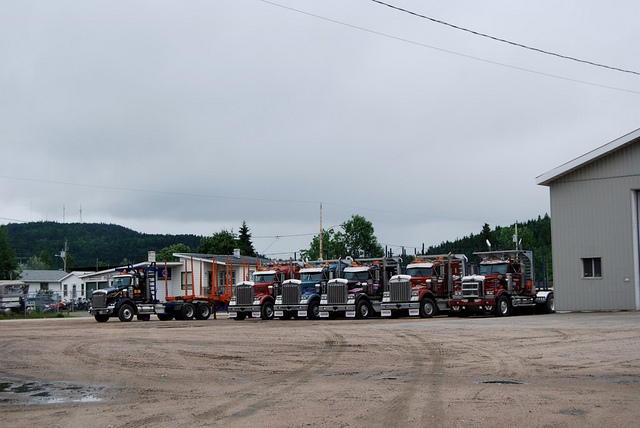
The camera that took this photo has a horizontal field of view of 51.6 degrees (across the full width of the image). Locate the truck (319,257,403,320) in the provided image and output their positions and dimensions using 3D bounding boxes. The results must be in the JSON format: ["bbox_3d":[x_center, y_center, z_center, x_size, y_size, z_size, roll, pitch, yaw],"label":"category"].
[{"bbox_3d":[3.035,4.180,38.825,3.286,3.634,7.161,-4,-8,38],"label":"truck"}]

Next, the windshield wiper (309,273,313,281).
[{"bbox_3d":[-0.544,3.609,38.120,0.099,0.381,0.098,6,-6,5],"label":"windshield wiper"}]

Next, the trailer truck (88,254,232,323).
[{"bbox_3d":[-9.726,4.527,39.439,7.320,3.538,2.338,2,-9,-19],"label":"trailer truck"}]

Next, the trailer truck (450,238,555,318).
[{"bbox_3d":[10.592,3.816,37.641,2.797,4.043,8.039,-8,-13,43],"label":"trailer truck"}]

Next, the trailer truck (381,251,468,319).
[{"bbox_3d":[5.456,3.899,36.137,2.629,3.059,6.007,-8,-14,39],"label":"trailer truck"}]

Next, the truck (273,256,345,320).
[{"bbox_3d":[-0.997,4.357,37.706,2.186,2.861,5.310,-5,-12,32],"label":"truck"}]
